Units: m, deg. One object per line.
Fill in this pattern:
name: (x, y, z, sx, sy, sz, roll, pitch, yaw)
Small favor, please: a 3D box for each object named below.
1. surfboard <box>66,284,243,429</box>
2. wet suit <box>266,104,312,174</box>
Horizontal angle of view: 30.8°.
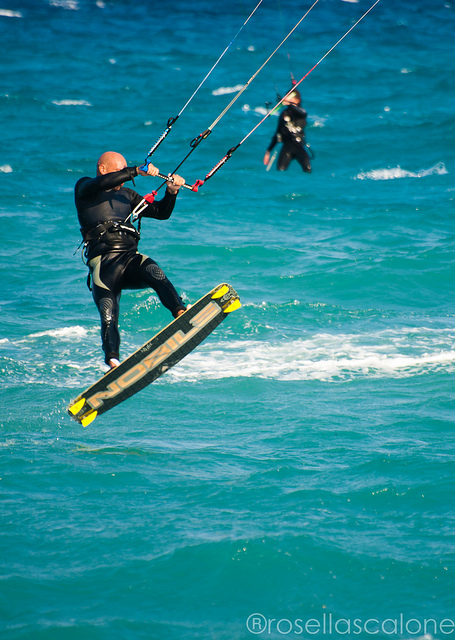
surfboard: (-1.034, 0.625, 12.028, 3.770, 0.690, 0.376, -29, 39, -5)
wet suit: (1.278, -3.546, 16.158, 0.915, 1.368, 0.544, 10, 39, 44)
